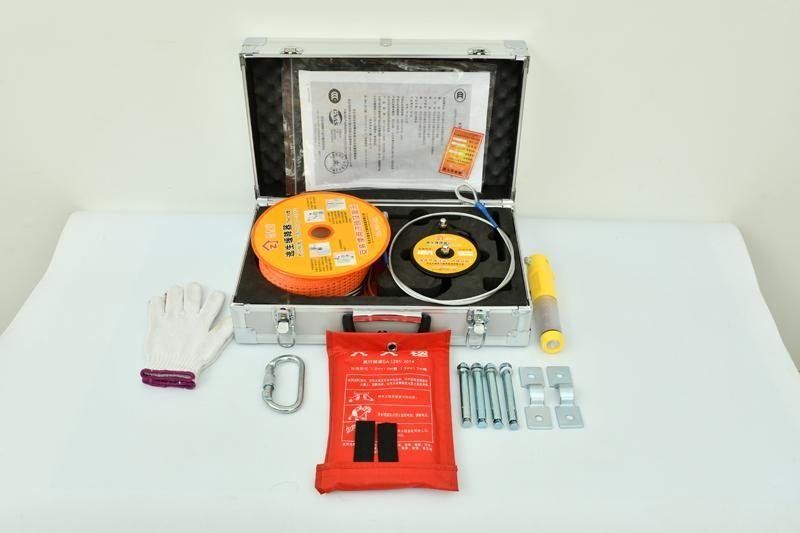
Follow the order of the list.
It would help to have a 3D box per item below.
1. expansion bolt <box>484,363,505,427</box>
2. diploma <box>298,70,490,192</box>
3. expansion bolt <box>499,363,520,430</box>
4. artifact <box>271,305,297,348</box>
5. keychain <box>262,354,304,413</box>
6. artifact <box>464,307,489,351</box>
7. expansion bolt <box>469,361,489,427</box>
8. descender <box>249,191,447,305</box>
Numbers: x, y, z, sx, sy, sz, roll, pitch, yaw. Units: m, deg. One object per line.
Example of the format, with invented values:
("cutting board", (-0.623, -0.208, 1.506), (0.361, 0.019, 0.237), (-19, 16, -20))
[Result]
("expansion bolt", (0.273, 0.374, 1.994), (0.037, 0.041, 0.158), (23, 46, -31))
("diploma", (-0.027, -0.423, 2.201), (0.650, 0.051, 0.484), (1, 74, -2))
("expansion bolt", (0.316, 0.374, 2.001), (0.041, 0.043, 0.158), (-24, 36, 18))
("artifact", (-0.352, 0.183, 2.051), (0.064, 0.118, 0.043), (1, 34, -1))
("keychain", (-0.342, 0.343, 2.024), (0.127, 0.038, 0.215), (10, 43, -3))
("artifact", (0.230, 0.184, 2.044), (0.061, 0.112, 0.113), (2, 46, 1))
("expansion bolt", (0.222, 0.371, 1.995), (0.043, 0.049, 0.146), (-22, 42, 17))
("descender", (-0.184, -0.113, 2.176), (0.481, 0.259, 0.546), (-11, 35, -15))
